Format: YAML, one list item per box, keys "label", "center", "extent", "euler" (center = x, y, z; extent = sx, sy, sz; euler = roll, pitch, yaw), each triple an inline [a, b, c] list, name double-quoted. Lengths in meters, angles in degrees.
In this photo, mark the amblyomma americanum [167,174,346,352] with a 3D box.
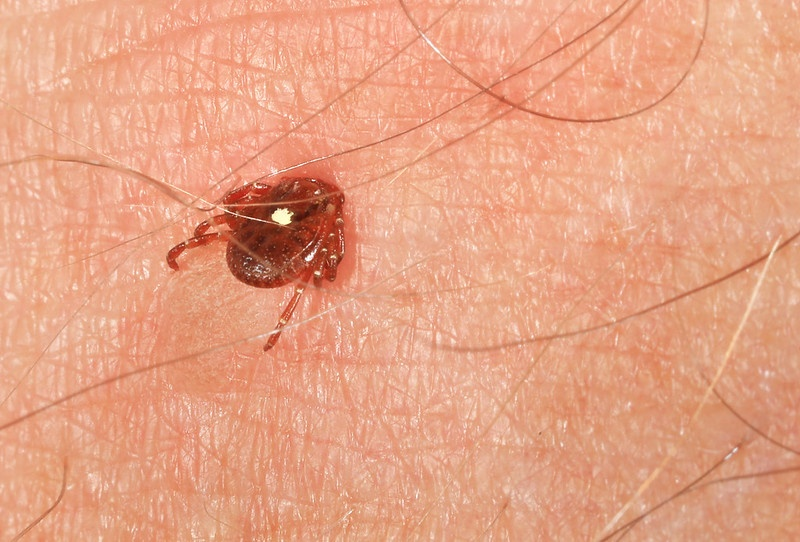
- label: "amblyomma americanum"
  center: [-0.445, -0.076, 2.975]
  extent: [0.514, 0.520, 0.514]
  euler: [29, 69, -2]
